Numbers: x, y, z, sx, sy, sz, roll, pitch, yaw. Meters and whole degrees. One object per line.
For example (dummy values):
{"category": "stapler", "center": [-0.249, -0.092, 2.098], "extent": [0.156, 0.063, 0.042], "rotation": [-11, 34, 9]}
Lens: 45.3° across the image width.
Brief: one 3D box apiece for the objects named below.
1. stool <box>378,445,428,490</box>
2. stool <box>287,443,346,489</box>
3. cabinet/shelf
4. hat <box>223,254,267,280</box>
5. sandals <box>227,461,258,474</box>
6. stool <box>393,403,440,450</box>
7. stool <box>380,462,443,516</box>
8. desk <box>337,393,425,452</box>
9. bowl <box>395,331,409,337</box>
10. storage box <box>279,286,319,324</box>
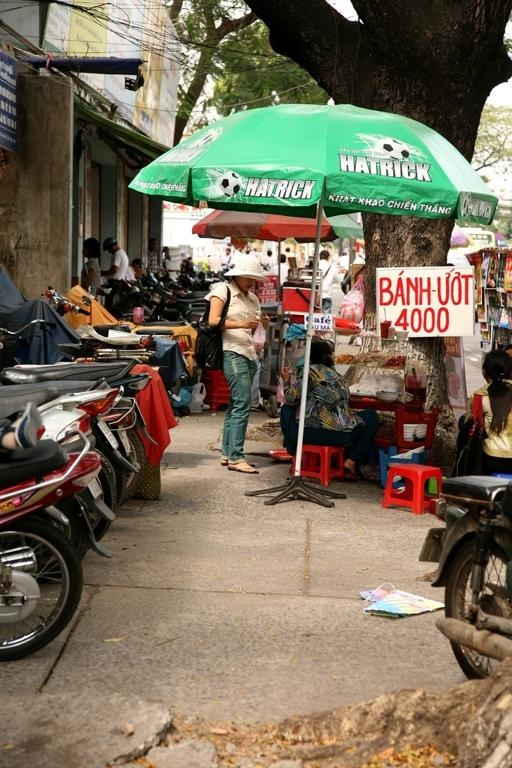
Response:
{"category": "stool", "center": [1.438, 0.780, 6.062], "extent": [0.424, 0.413, 0.438], "rotation": [2, 7, 10]}
{"category": "stool", "center": [0.673, 0.849, 6.531], "extent": [0.466, 0.385, 0.474], "rotation": [2, 4, 41]}
{"category": "cabinet/shelf", "center": [1.419, -0.198, 7.278], "extent": [0.900, 0.833, 0.507], "rotation": [7, 23, 30]}
{"category": "hat", "center": [-0.103, -1.190, 6.376], "extent": [0.402, 0.205, 0.366], "rotation": [12, 2, -8]}
{"category": "sandals", "center": [-0.150, 0.897, 6.657], "extent": [0.270, 0.104, 0.139], "rotation": [0, 3, 18]}
{"category": "stool", "center": [1.539, 0.463, 6.264], "extent": [0.480, 0.579, 0.423], "rotation": [3, -7, 4]}
{"category": "stool", "center": [1.452, 0.961, 5.669], "extent": [0.534, 0.370, 0.524], "rotation": [3, 1, 27]}
{"category": "desk", "center": [1.386, 0.339, 6.423], "extent": [0.942, 0.588, 0.505], "rotation": [3, 8, 23]}
{"category": "bowl", "center": [1.482, -0.491, 6.281], "extent": [0.080, 0.050, 0.079], "rotation": [-1, 3, 0]}
{"category": "storage box", "center": [0.559, -1.183, 9.025], "extent": [0.609, 0.780, 0.538], "rotation": [2, -2, 0]}
